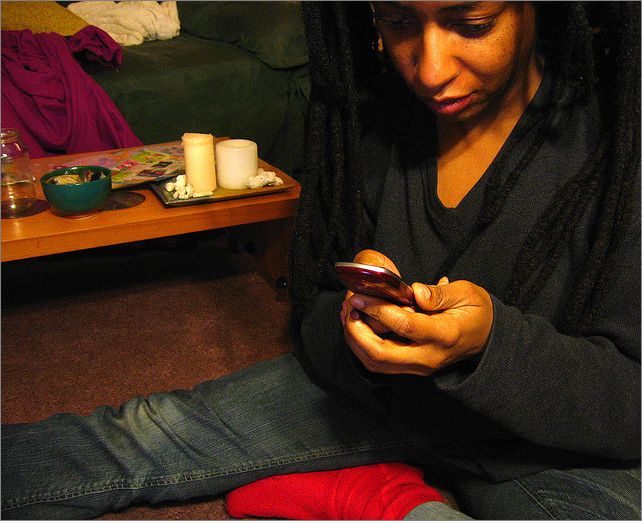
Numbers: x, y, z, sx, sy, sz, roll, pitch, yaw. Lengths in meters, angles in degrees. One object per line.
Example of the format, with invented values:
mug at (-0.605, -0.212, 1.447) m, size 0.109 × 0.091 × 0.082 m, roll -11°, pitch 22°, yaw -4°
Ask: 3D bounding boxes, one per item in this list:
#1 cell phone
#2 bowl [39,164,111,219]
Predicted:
cell phone at (0.066, 0.051, 0.814) m, size 0.078 × 0.141 × 0.033 m, roll 5°, pitch 64°, yaw 15°
bowl at (-0.693, -0.176, 1.554) m, size 0.191 × 0.179 × 0.106 m, roll -2°, pitch 82°, yaw -17°
